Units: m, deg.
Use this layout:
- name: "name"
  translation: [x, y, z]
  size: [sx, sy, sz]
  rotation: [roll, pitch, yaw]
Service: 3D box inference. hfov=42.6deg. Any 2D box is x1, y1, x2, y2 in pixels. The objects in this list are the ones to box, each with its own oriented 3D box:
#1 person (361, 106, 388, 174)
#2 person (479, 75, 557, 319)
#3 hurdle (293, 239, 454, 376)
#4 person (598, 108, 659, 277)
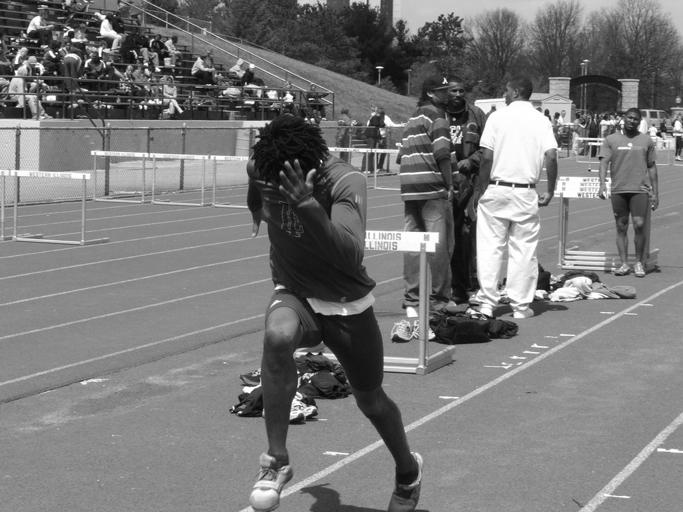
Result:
- name: "person"
  translation: [1.281, -4.319, 33.004]
  size: [0.755, 2.232, 0.626]
  rotation: [-7, 15, -40]
- name: "person"
  translation: [1.821, -0.626, 9.699]
  size: [0.964, 2.412, 1.008]
  rotation: [-1, 1, -37]
- name: "hurdle"
  translation: [0.396, 0.337, 7.933]
  size: [1.214, 1.137, 1.064]
  rotation: [13, 16, 36]
- name: "person"
  translation: [3.971, -0.879, 12.161]
  size: [0.815, 2.237, 0.647]
  rotation: [1, 0, 19]
